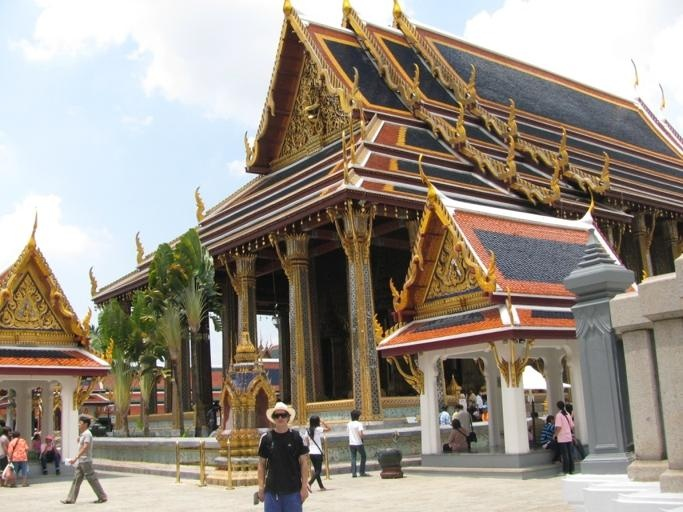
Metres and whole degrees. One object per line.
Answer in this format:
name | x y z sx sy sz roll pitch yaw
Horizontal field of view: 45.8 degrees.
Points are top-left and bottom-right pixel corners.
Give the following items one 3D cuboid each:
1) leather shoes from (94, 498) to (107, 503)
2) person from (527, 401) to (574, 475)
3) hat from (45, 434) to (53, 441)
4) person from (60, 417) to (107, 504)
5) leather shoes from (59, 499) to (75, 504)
leather shoes | -4.025 4.056 13.400 0.228 0.107 0.081 -4 -17 27
person | 3.792 3.155 14.052 0.446 1.247 0.985 -4 -16 3
hat | -6.440 3.990 17.775 0.157 0.185 0.225 4 -21 -27
person | -4.299 3.419 13.584 0.730 1.448 1.570 2 -17 -17
leather shoes | -4.479 4.004 13.152 0.220 0.104 0.084 7 -24 10
